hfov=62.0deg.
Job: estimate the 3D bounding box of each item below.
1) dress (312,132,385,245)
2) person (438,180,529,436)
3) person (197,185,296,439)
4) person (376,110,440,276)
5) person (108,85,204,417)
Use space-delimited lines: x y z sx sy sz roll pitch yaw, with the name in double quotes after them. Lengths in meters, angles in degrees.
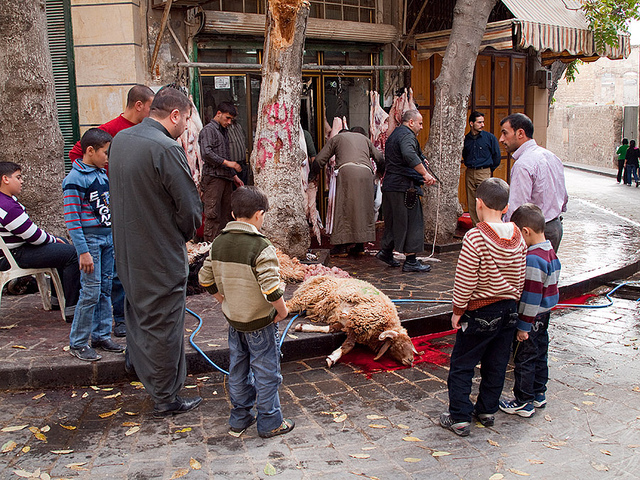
0.475 -0.860 8.804 1.200 1.767 0.774 0 13 -1 "dress"
1.317 0.504 4.271 0.513 1.914 0.866 8 16 31 "person"
-0.557 0.555 4.105 0.695 1.877 0.430 9 16 34 "person"
1.301 -0.707 7.881 0.645 2.348 0.923 -7 15 -26 "person"
-1.297 0.120 4.318 0.694 2.605 0.600 -5 14 -19 "person"
